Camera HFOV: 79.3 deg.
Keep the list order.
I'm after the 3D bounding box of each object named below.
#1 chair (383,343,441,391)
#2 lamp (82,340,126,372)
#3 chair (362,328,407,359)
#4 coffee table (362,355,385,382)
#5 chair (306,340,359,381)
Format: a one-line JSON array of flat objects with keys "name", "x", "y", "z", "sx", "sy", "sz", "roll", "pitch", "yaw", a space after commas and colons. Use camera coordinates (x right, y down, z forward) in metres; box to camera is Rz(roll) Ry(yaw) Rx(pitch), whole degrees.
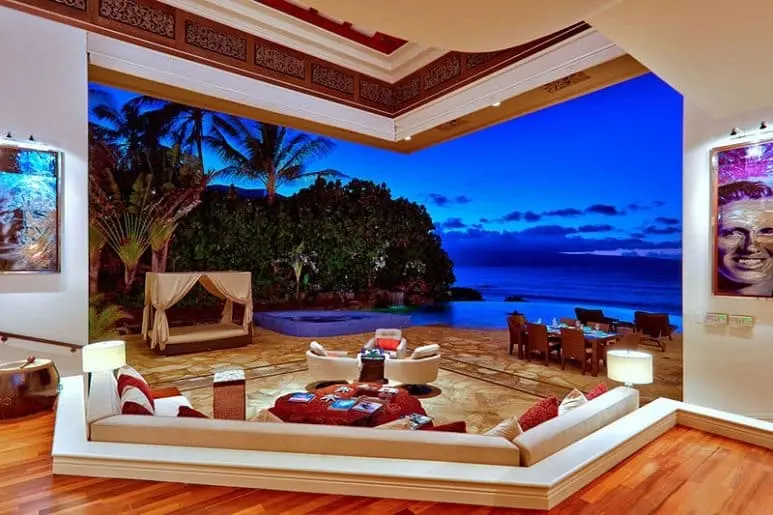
[{"name": "chair", "x": 0.350, "y": 1.898, "z": 8.271, "sx": 0.891, "sy": 0.633, "sz": 0.910, "roll": 0, "pitch": -2, "yaw": 45}, {"name": "lamp", "x": -3.607, "y": 1.307, "z": 6.013, "sx": 0.516, "sy": 0.278, "sz": 0.479, "roll": 0, "pitch": 0, "yaw": -29}, {"name": "chair", "x": 0.009, "y": 1.707, "z": 9.219, "sx": 0.741, "sy": 0.504, "sz": 0.624, "roll": -1, "pitch": -8, "yaw": 10}, {"name": "coffee table", "x": -0.274, "y": 1.981, "z": 8.296, "sx": 0.495, "sy": 0.339, "sz": 0.470, "roll": 0, "pitch": 0, "yaw": 31}, {"name": "chair", "x": -1.010, "y": 1.876, "z": 8.204, "sx": 0.952, "sy": 0.648, "sz": 0.894, "roll": -1, "pitch": 2, "yaw": -22}]
